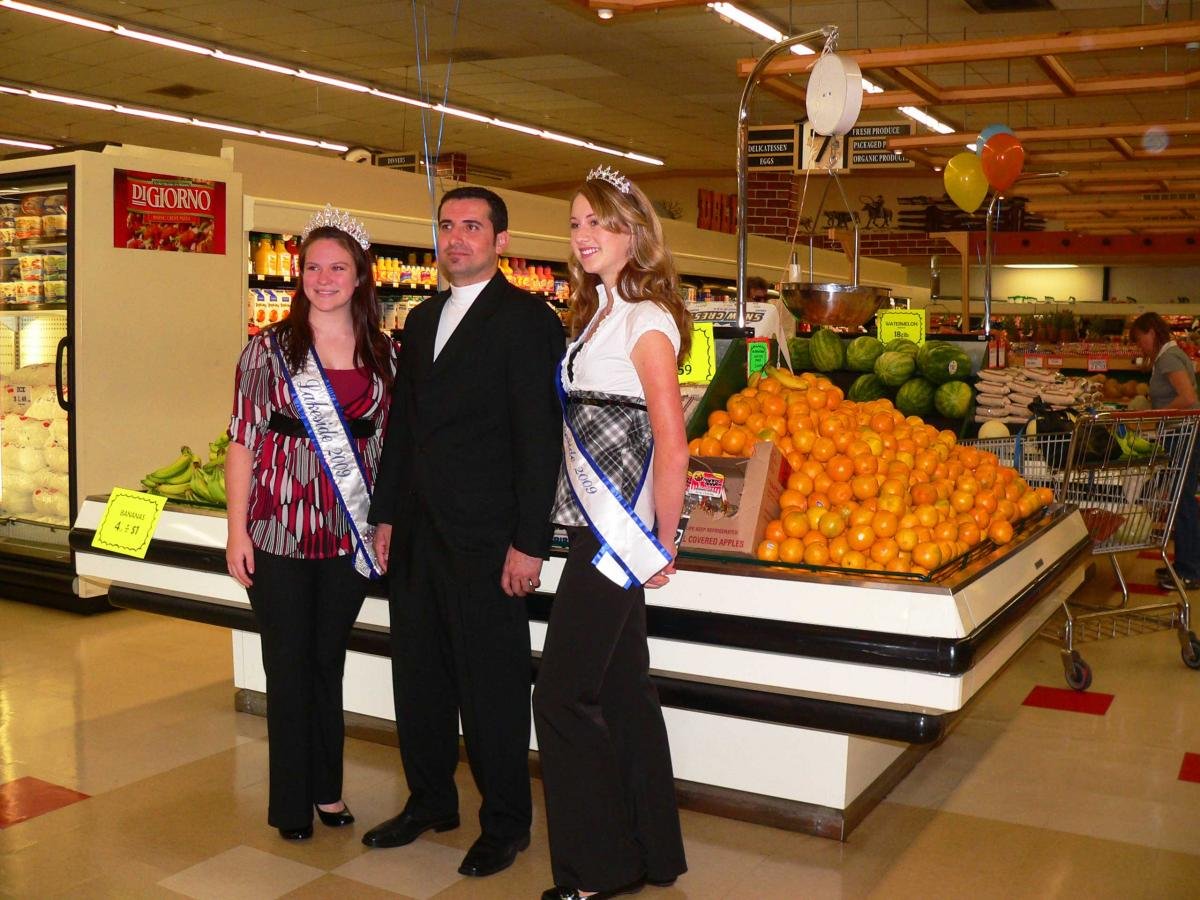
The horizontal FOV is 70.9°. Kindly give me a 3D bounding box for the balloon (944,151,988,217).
[{"bbox_3d":[3.278,-2.419,7.496,0.349,0.559,0.520,2,4,25],"label":"balloon"}]

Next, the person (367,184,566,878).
[{"bbox_3d":[-0.355,0.242,2.608,0.538,2.122,0.542,4,10,0],"label":"person"}]
